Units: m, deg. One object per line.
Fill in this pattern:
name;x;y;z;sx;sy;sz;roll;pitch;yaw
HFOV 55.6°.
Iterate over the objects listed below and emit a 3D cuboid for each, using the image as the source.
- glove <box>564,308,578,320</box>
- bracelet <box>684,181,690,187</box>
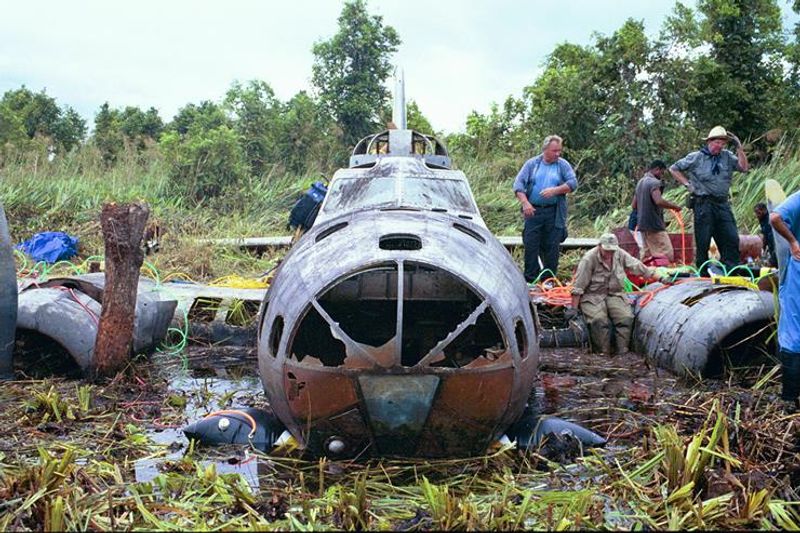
glove;2.602;0.722;11.556;0.133;0.178;0.151;19;43;22
bracelet;4.631;-1.337;12.252;0.064;0.028;0.085;-7;22;17
